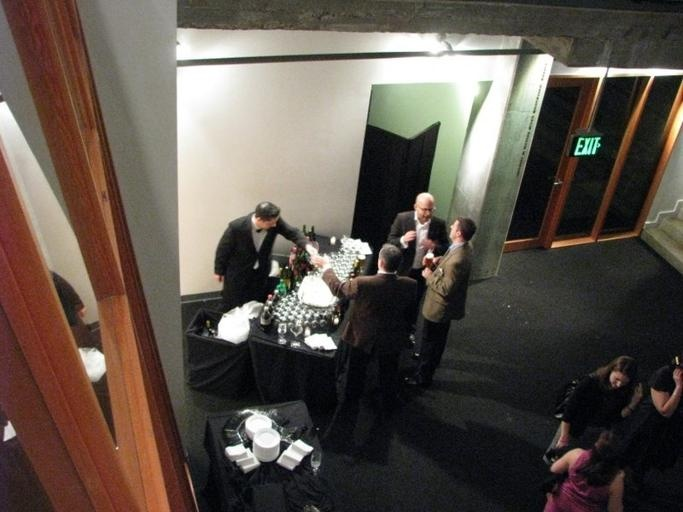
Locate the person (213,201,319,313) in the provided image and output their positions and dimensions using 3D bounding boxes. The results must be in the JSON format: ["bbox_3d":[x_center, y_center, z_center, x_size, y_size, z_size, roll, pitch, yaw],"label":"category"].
[{"bbox_3d":[-0.818,0.183,5.355,0.972,1.773,0.525,11,39,-9],"label":"person"}]

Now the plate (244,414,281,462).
[{"bbox_3d":[-0.504,1.158,3.326,0.222,0.110,0.366,-4,30,-17],"label":"plate"}]

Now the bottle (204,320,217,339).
[{"bbox_3d":[-1.134,0.642,4.443,0.105,0.052,0.145,7,70,-29],"label":"bottle"}]

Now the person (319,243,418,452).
[{"bbox_3d":[0.205,0.688,4.343,0.784,1.712,0.904,4,28,-2],"label":"person"}]

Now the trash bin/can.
[{"bbox_3d":[-1.110,0.795,4.798,0.767,0.823,0.649,0,31,-19],"label":"trash bin/can"}]

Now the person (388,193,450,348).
[{"bbox_3d":[0.854,0.219,5.636,0.636,1.720,0.576,8,26,18],"label":"person"}]

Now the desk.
[{"bbox_3d":[-0.280,0.653,4.524,0.636,0.574,1.652,11,43,4],"label":"desk"}]
